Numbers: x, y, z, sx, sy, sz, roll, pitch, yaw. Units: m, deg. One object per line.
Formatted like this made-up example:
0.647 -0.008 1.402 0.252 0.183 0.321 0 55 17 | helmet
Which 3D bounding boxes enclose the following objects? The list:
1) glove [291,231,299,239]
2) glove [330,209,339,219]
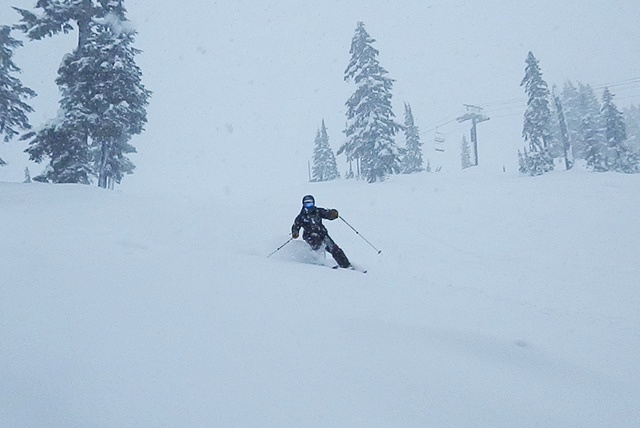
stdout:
-1.313 1.064 38.292 0.314 0.331 0.260 1 -9 -14 | glove
0.740 -0.024 38.796 0.349 0.536 0.174 0 -11 0 | glove
